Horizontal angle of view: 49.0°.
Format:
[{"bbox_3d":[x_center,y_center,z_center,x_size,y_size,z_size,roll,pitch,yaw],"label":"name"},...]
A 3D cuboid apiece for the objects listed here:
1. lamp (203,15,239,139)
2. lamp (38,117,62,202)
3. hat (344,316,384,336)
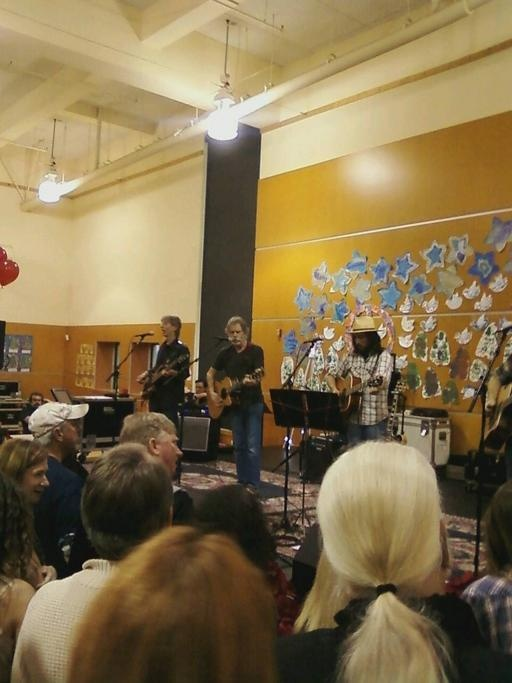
[{"bbox_3d":[-0.434,-3.350,7.297,0.389,1.530,1.479,3,0,-6],"label":"lamp"},{"bbox_3d":[-3.790,-3.397,10.435,0.175,1.575,0.456,24,24,26],"label":"lamp"},{"bbox_3d":[1.004,-0.205,5.336,0.339,0.133,0.374,-3,-13,5],"label":"hat"}]
